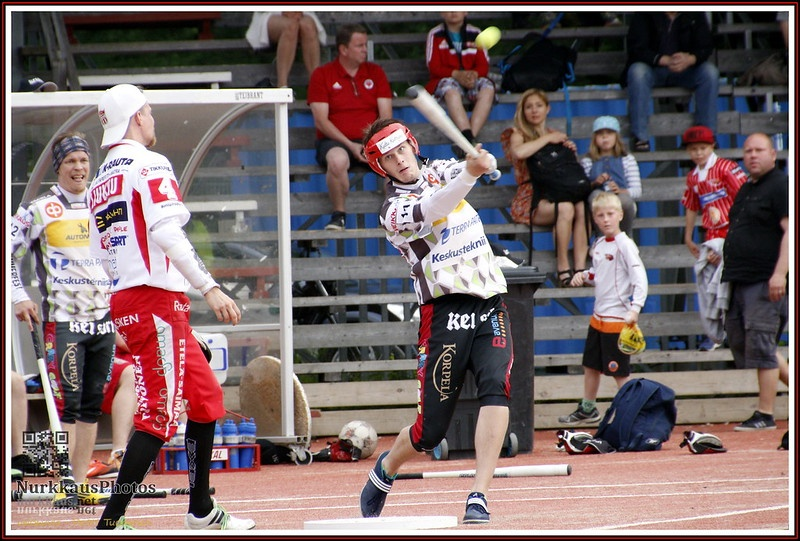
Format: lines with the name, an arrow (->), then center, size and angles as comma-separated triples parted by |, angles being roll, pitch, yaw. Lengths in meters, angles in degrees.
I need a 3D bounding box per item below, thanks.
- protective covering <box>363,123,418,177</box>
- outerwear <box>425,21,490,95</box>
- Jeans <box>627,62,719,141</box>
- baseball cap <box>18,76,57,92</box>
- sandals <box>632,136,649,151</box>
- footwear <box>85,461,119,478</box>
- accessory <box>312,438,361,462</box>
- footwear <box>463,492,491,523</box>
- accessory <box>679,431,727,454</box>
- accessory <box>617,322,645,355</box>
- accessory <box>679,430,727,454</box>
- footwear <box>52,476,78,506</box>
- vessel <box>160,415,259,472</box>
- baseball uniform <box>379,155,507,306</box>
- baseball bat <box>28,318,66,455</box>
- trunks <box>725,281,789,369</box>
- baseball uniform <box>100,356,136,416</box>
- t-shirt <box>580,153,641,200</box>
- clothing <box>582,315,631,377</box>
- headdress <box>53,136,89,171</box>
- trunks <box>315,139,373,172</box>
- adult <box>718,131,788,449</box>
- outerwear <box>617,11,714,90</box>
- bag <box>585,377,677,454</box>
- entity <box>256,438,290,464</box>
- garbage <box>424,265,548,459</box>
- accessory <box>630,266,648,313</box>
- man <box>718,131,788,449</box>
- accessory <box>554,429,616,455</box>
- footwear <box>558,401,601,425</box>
protective covering -> -0.149, -1.230, 17.112 | 0.434, 0.504, 0.473 | -37, 17, -1
outerwear -> 0.673, -2.599, 22.002 | 0.792, 0.870, 0.880 | 0, 4, -26
Jeans -> 3.360, -2.102, 22.075 | 1.146, 0.987, 0.637 | 1, -6, 1
baseball cap -> -4.107, -2.045, 20.190 | 0.389, 0.118, 0.248 | 0, 20, 41
sandals -> 2.953, -1.554, 21.976 | 0.203, 0.188, 0.537 | -1, 0, 2
footwear -> -3.164, 2.108, 18.948 | 0.344, 0.134, 0.142 | 11, -7, -38
accessory -> -0.685, 2.005, 19.837 | 0.423, 0.152, 0.276 | 7, 18, -1
footwear -> 0.703, 2.215, 16.719 | 0.253, 0.296, 0.166 | -2, -5, -9
accessory -> 3.254, 1.846, 19.261 | 0.435, 0.170, 0.224 | 4, 1, -9
accessory -> 2.554, 0.758, 20.042 | 0.425, 0.444, 0.300 | -1, -1, -4
accessory -> 3.261, 1.843, 19.263 | 0.435, 0.170, 0.224 | 4, 1, -9
footwear -> -3.332, 2.198, 17.860 | 0.229, 0.299, 0.529 | -2, -4, -10
vessel -> -1.975, 1.871, 19.559 | 0.914, 0.440, 0.595 | 1, -6, -16
baseball uniform -> 0.384, -0.265, 17.124 | 0.993, 1.366, 1.003 | -12, 7, 12
baseball bat -> -3.646, 1.194, 18.549 | 0.143, 1.403, 0.153 | -16, -8, 1
trunks -> 4.063, 0.575, 20.226 | 0.649, 1.032, 0.749 | 6, -4, -10
baseball uniform -> -2.959, 1.171, 19.483 | 0.408, 0.663, 0.499 | 12, -8, -13
t-shirt -> 2.498, -1.098, 21.435 | 0.766, 0.601, 0.424 | 0, -7, 14
clothing -> 2.332, 0.852, 20.078 | 0.415, 0.634, 0.689 | 7, -1, -35
headdress -> -3.397, -1.209, 18.386 | 0.307, 0.220, 0.370 | -4, -14, -20
trunks -> -0.715, -1.406, 21.656 | 0.471, 0.461, 0.170 | -2, -41, -11
adult -> 4.042, 0.140, 19.966 | 0.583, 3.267, 1.069 | -1, -5, -25
outerwear -> 3.353, -2.836, 22.272 | 1.105, 1.194, 0.701 | 1, -18, 2
bag -> 2.572, 1.661, 19.784 | 0.907, 0.800, 0.826 | 19, -14, -9
entity -> -1.396, 1.995, 19.770 | 0.383, 0.284, 0.119 | 0, -5, -33
garbage -> 1.175, 1.080, 20.061 | 1.898, 2.561, 1.879 | 2, -3, -1
accessory -> 2.723, 0.206, 19.978 | 0.125, 0.430, 0.346 | -4, -15, -27
man -> 4.039, 0.140, 19.964 | 0.590, 3.267, 1.066 | -1, -5, -24
accessory -> 2.020, 1.871, 19.590 | 0.475, 0.183, 0.287 | -1, 1, -15
footwear -> 1.984, 1.626, 20.484 | 0.609, 0.276, 0.204 | -2, 10, 3
